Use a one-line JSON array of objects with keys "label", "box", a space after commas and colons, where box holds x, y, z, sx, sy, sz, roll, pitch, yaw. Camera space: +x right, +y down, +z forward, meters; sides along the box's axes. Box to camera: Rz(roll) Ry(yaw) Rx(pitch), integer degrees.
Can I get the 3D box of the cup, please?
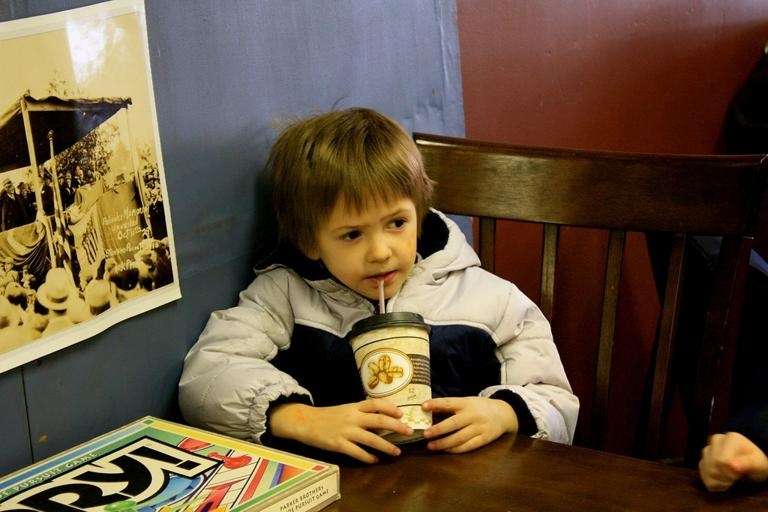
[{"label": "cup", "box": [0.022, 0.218, 0.996, 0.136, 0.189, 0.138, -8, -27, -4]}]
